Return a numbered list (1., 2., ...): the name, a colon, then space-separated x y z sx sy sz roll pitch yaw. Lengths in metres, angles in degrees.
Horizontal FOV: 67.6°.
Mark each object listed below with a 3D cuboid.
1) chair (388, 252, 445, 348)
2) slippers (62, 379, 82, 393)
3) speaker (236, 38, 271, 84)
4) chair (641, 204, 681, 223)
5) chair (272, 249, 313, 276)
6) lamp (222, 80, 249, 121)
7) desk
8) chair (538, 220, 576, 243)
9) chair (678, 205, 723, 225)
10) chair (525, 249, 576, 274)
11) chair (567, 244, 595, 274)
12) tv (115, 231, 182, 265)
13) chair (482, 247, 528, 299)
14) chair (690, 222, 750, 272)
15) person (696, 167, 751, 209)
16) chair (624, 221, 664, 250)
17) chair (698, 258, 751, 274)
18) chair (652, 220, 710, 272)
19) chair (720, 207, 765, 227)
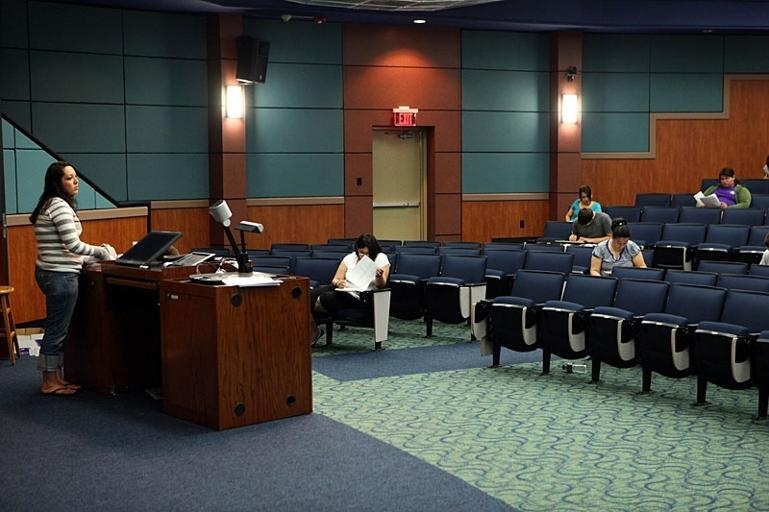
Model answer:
1. chair: 0.364 0.463 9.313 0.866 1.120 1.058 0 -1 34
2. slippers: -3.420 1.406 6.275 0.291 0.113 0.099 18 16 33
3. speaker: -2.847 -4.255 12.468 0.704 0.980 0.381 0 6 -7
4. chair: 6.292 -0.925 13.037 0.456 0.456 0.472 1 -6 29
5. chair: -1.586 0.072 9.665 0.497 0.696 0.567 1 -5 2
6. lamp: -3.306 -3.400 12.660 0.441 0.806 0.159 -3 7 -33
7. desk: -1.978 0.797 5.840 2.429 1.454 0.801 4 7 28
8. chair: 3.716 -0.523 12.250 0.574 0.525 0.536 2 1 20
9. chair: 6.803 -0.870 12.390 0.503 0.622 0.446 3 3 45
10. chair: 2.499 0.104 8.628 0.592 0.396 0.327 1 -4 37
11. chair: 3.121 0.054 9.309 0.494 0.631 0.518 0 -1 33
12. tv: -2.450 -0.069 6.015 0.479 0.171 0.476 -7 14 37
13. chair: 1.770 0.232 9.285 0.685 0.925 0.793 -1 -3 29
14. chair: 5.822 -0.126 9.925 0.781 1.056 1.039 0 -4 42
15. person: 7.642 -1.512 12.845 0.984 0.882 1.309 6 7 37
16. chair: 5.140 -0.413 11.388 0.580 0.772 0.635 -1 -2 35
17. chair: 4.594 0.153 7.762 0.576 0.241 0.190 7 19 37
18. chair: 5.525 -0.172 10.770 0.878 1.221 1.140 -1 -3 42
19. chair: 7.439 -0.800 11.868 0.761 0.510 0.427 5 13 36
